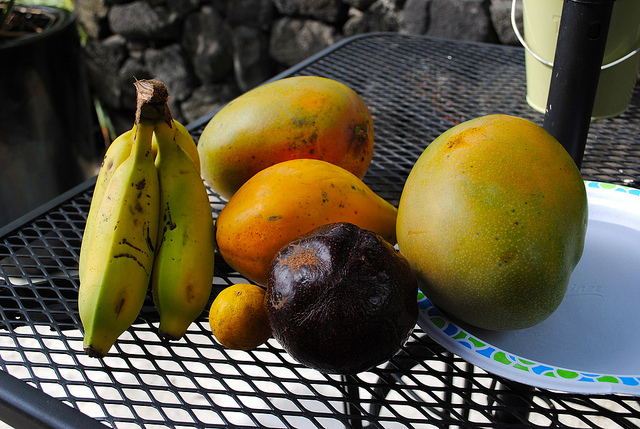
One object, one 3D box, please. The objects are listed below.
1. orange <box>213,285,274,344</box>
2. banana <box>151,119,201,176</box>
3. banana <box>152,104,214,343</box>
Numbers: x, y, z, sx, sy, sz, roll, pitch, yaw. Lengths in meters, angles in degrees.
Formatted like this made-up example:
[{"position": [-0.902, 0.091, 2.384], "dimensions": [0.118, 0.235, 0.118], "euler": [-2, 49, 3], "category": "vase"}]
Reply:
[{"position": [-0.102, 0.131, 0.824], "dimensions": [0.071, 0.055, 0.063], "euler": [-11, 44, -12], "category": "orange"}, {"position": [-0.213, -0.095, 0.909], "dimensions": [0.057, 0.049, 0.078], "euler": [-1, -1, -12], "category": "banana"}, {"position": [-0.172, 0.012, 0.881], "dimensions": [0.079, 0.105, 0.315], "euler": [-1, 85, -7], "category": "banana"}]
